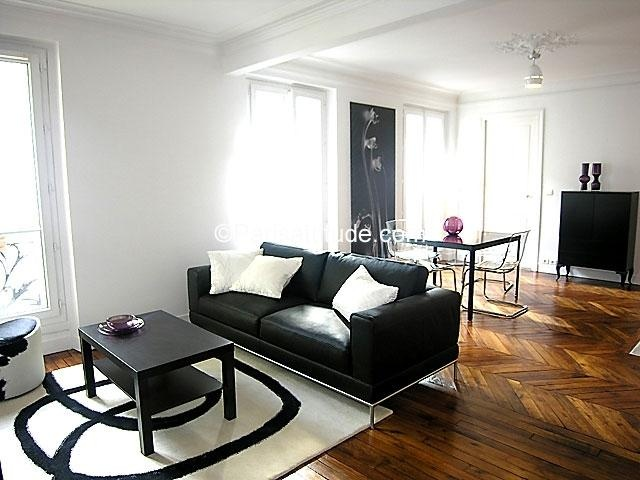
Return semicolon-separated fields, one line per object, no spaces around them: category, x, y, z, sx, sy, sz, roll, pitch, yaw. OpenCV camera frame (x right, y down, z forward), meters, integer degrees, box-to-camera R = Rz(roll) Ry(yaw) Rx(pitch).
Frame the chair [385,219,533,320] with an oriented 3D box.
chair;1.972;0.297;5.966;1.383;0.695;1.416;4;8;43

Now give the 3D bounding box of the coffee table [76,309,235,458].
coffee table;-1.367;1.091;3.824;0.737;0.622;1.340;-9;10;-42
